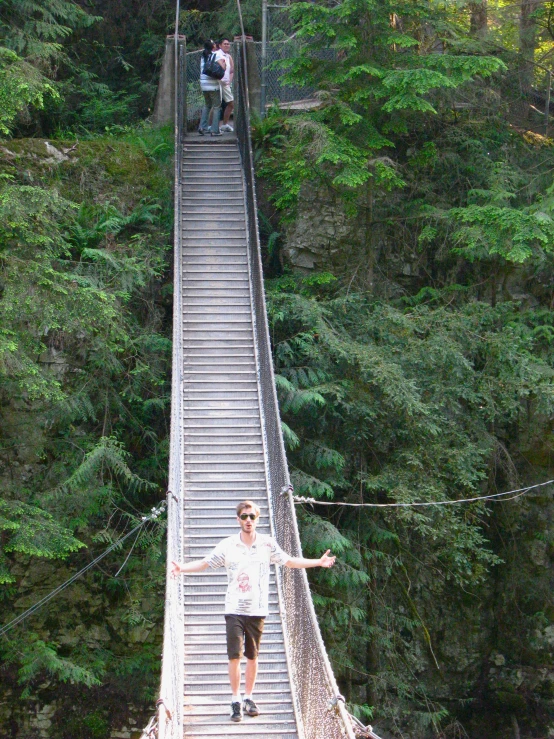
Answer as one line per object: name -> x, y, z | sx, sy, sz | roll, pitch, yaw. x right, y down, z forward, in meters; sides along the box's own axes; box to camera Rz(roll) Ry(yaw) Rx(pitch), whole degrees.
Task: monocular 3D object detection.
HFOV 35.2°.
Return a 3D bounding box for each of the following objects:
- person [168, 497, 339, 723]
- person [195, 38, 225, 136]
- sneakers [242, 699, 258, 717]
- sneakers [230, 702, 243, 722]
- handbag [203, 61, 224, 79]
person -> -0.218, 1.515, 5.173 | 0.755, 1.661, 0.607 | 2, 13, -6
person -> -0.925, -3.994, 12.402 | 0.336, 1.326, 0.794 | 2, 12, -5
sneakers -> -0.157, 2.032, 5.276 | 0.075, 0.083, 0.201 | 8, -12, -15
sneakers -> -0.236, 1.995, 5.149 | 0.055, 0.060, 0.152 | 1, 18, -6
handbag -> -0.892, -4.112, 12.037 | 0.234, 0.219, 0.233 | 23, 36, 29
